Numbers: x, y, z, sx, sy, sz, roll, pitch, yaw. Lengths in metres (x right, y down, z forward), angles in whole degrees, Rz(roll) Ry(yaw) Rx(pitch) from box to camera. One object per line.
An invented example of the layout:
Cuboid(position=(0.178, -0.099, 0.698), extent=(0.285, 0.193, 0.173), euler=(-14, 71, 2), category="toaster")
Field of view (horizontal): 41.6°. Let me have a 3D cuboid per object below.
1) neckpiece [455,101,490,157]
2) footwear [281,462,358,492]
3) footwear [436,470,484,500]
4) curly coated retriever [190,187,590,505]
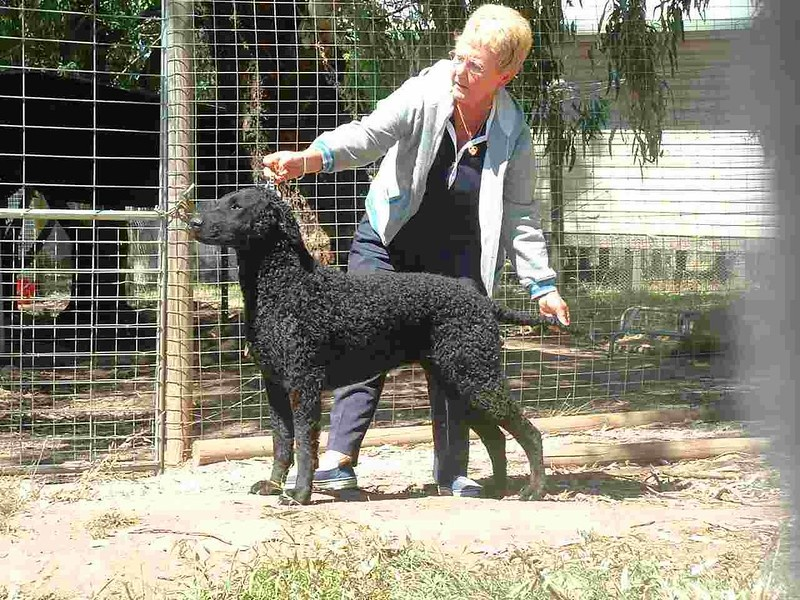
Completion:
Cuboid(position=(0.334, -0.835, 5.104), extent=(0.176, 0.238, 0.184), euler=(6, 16, 10), category="neckpiece")
Cuboid(position=(-0.382, 0.861, 5.153), extent=(0.340, 0.132, 0.124), euler=(3, -2, -19), category="footwear")
Cuboid(position=(0.293, 0.949, 5.337), extent=(0.202, 0.073, 0.096), euler=(-4, -5, 43), category="footwear")
Cuboid(position=(-0.031, 0.244, 5.152), extent=(1.973, 1.410, 0.508), euler=(3, -5, -17), category="curly coated retriever")
